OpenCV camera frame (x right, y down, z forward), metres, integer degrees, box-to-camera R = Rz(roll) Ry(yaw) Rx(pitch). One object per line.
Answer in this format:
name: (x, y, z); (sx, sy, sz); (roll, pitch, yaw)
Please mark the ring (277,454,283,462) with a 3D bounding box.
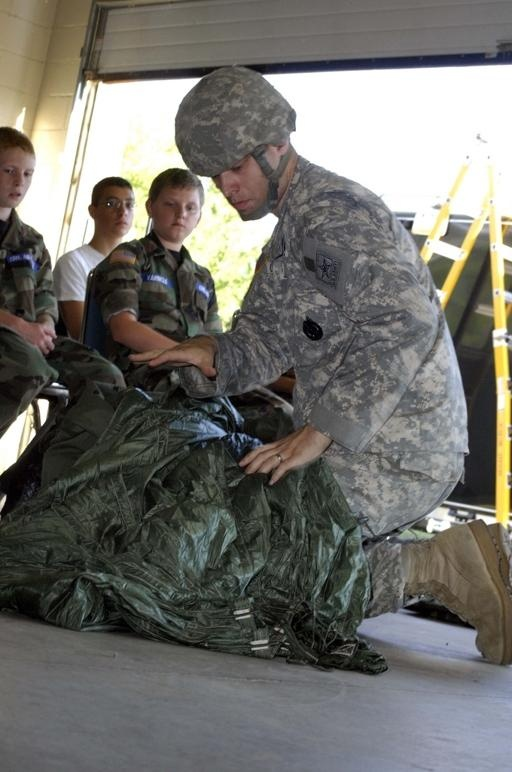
ring: (0.050, 0.153, 1.318); (0.012, 0.015, 0.005); (6, -32, -8)
